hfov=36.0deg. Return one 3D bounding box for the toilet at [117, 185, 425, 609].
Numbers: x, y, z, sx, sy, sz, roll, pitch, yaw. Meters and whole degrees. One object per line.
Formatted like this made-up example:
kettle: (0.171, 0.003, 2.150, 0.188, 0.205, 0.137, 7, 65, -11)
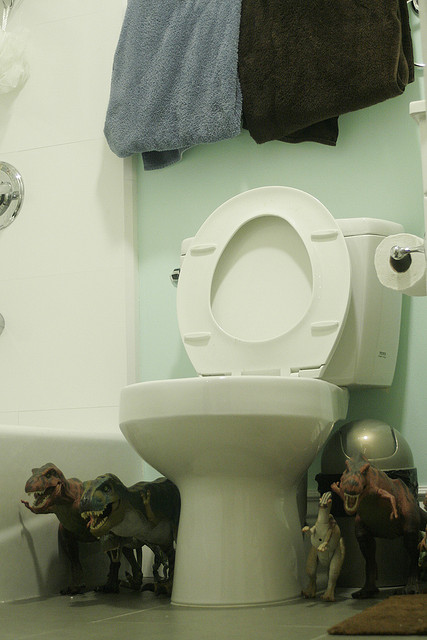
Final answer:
toilet: (0.133, 0.116, 1.195, 0.552, 0.622, 0.634, -3, 20, 3)
